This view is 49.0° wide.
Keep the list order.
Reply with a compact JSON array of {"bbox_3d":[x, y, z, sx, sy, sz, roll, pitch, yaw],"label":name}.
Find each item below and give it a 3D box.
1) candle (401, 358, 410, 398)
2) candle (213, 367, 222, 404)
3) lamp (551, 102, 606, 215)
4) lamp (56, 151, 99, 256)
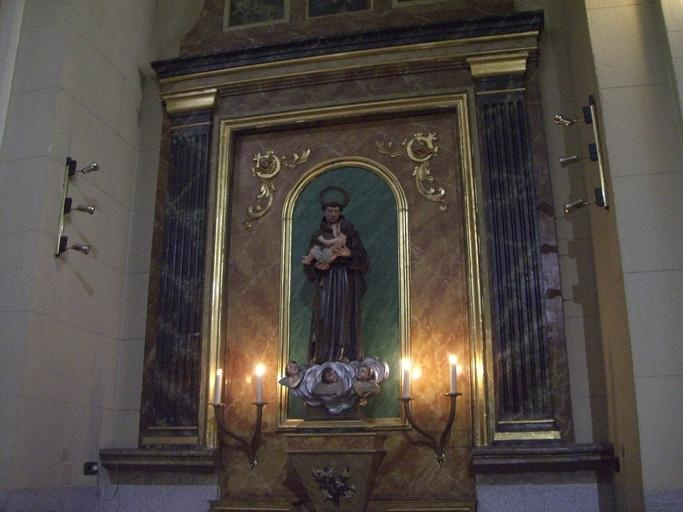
[{"bbox_3d":[0.441,0.841,5.101,0.065,0.304,0.195,-2,-17,6],"label":"candle"},{"bbox_3d":[-0.871,0.931,5.303,0.064,0.286,0.210,2,-18,-9],"label":"candle"},{"bbox_3d":[1.603,-0.642,4.999,0.264,0.852,0.174,-9,-27,20],"label":"lamp"},{"bbox_3d":[-1.851,-0.341,5.346,0.237,0.790,0.343,0,-17,-3],"label":"lamp"}]
